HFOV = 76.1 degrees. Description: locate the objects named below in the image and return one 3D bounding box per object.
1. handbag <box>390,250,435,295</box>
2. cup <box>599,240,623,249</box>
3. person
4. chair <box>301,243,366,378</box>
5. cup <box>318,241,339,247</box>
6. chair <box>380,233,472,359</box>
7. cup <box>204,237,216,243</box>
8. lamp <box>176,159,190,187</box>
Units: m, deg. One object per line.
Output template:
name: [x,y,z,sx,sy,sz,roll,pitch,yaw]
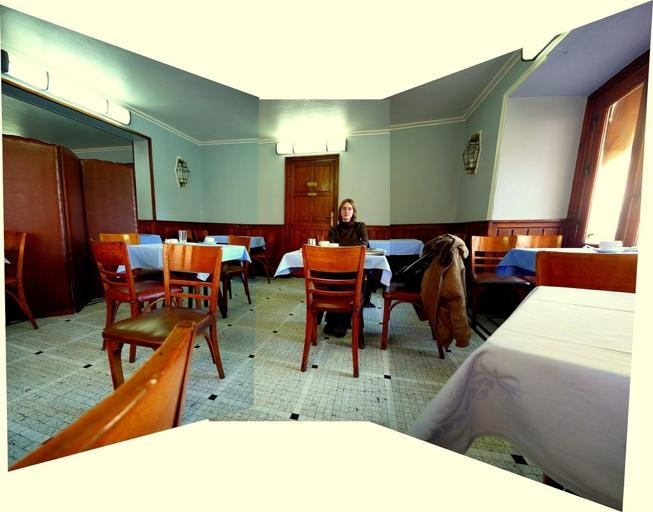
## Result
handbag: [0.474,0.092,2.276,0.155,0.056,0.189,18,-35,-11]
cup: [1.326,-0.061,1.946,0.050,0.029,0.061,-4,8,-42]
person: [0.142,0.039,2.840,0.256,0.805,0.225,1,6,11]
chair: [0.048,0.215,2.223,0.316,0.627,0.678,2,10,5]
cup: [0.004,-0.075,2.686,0.094,0.036,0.062,-2,0,21]
chair: [0.478,0.146,2.389,0.550,0.824,0.612,2,3,12]
cup: [-0.885,-0.118,3.130,0.083,0.059,0.086,1,8,0]
lamp: [-1.497,-0.867,4.336,0.119,0.283,0.269,3,10,8]
